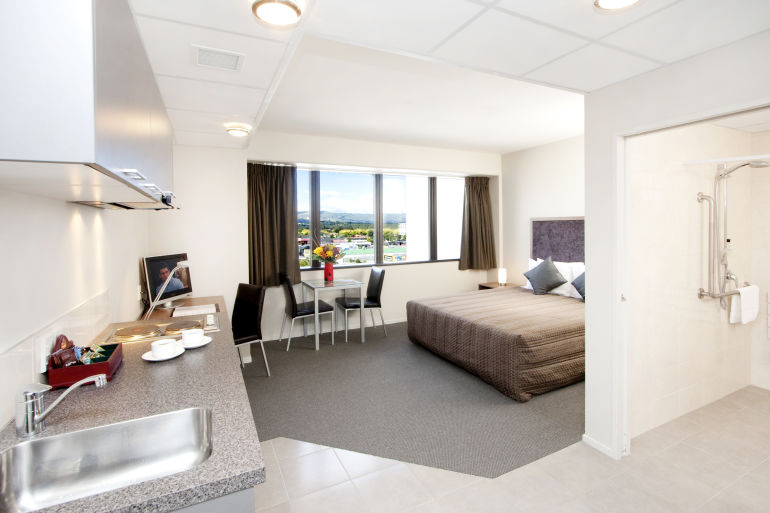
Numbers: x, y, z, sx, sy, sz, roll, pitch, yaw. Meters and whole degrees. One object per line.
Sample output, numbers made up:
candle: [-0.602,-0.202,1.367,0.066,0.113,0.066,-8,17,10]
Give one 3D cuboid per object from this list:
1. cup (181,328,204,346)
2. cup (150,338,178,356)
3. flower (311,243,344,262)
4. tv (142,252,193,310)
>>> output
cup: [-1.291,0.548,3.193,0.123,0.085,0.096,-4,-1,24]
cup: [-1.392,0.571,3.011,0.114,0.074,0.104,-1,4,0]
flower: [-0.759,-0.045,6.125,0.263,0.183,0.258,-3,9,-45]
tv: [-2.027,0.249,4.416,0.150,0.381,0.520,-5,2,15]
